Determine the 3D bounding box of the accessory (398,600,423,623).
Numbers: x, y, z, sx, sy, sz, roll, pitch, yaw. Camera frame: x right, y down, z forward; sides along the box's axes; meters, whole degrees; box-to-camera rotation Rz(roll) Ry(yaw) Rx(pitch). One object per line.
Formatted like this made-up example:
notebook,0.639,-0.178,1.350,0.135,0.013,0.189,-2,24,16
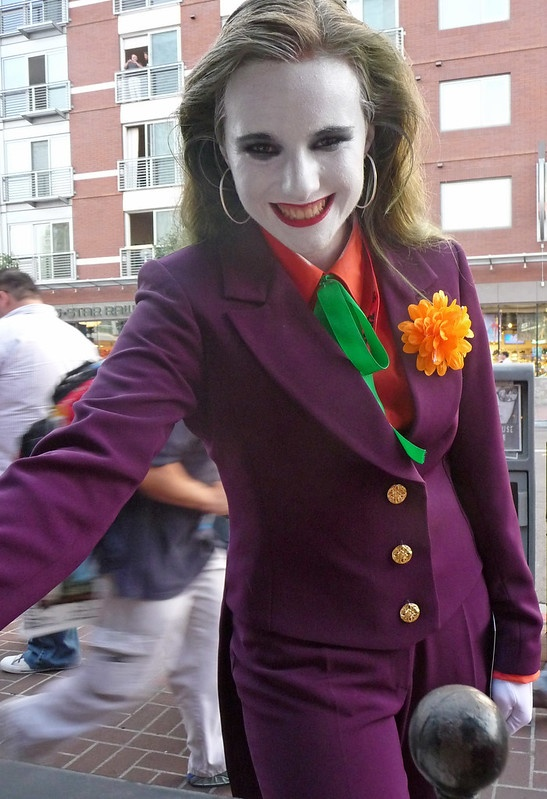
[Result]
accessory,0.233,0.360,1.319,0.037,0.034,0.010,38,-5,-21

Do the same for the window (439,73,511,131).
window,5.194,-7.566,19.652,2.024,1.146,0.075,1,7,19

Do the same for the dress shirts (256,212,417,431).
dress shirts,0.115,-0.175,1.449,0.176,0.491,0.097,-8,-28,-28
